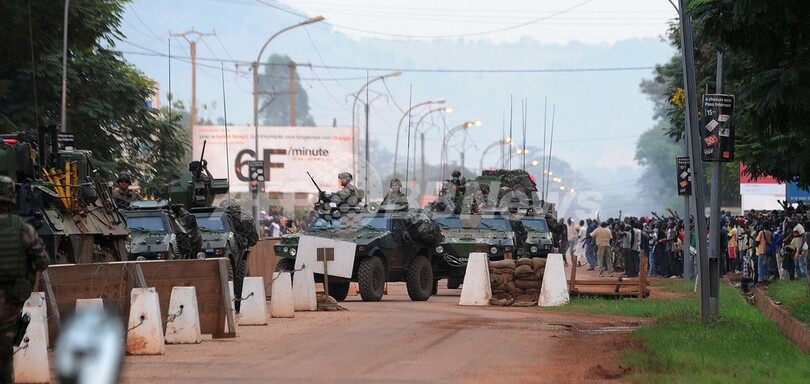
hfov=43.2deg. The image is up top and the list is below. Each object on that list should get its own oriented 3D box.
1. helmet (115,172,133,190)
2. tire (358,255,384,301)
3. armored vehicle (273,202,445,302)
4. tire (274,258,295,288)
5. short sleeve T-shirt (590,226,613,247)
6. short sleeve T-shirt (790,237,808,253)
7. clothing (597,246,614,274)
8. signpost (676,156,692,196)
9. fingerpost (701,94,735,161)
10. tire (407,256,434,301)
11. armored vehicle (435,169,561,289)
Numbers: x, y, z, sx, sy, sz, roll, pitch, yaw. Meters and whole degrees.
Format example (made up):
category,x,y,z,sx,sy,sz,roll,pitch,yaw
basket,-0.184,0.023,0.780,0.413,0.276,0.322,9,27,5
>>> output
category,x,y,z,sx,sy,sz,roll,pitch,yaw
helmet,-10.593,-0.356,38.118,0.557,0.649,0.705,3,1,-9
tire,-1.344,3.212,38.820,0.555,1.685,1.752,-3,-3,26
armored vehicle,-1.729,2.470,40.905,4.486,3.534,6.768,0,-3,23
tire,-4.584,2.783,38.770,0.722,1.263,1.278,4,16,7
short sleeve T-shirt,9.612,2.369,49.830,1.337,1.169,0.773,0,8,12
short sleeve T-shirt,15.662,2.051,40.613,0.516,0.888,0.714,1,4,28
clothing,9.672,3.278,49.651,0.706,1.479,0.441,-1,-12,5
signpost,11.282,-0.647,41.506,0.488,1.511,1.002,-2,-2,11
fingerpost,10.124,-2.026,33.163,1.008,2.080,0.557,-2,-2,12
tire,0.517,3.363,40.163,0.579,1.616,1.666,-1,3,22
armored vehicle,4.058,1.281,46.013,7.958,5.199,3.991,0,-2,15
